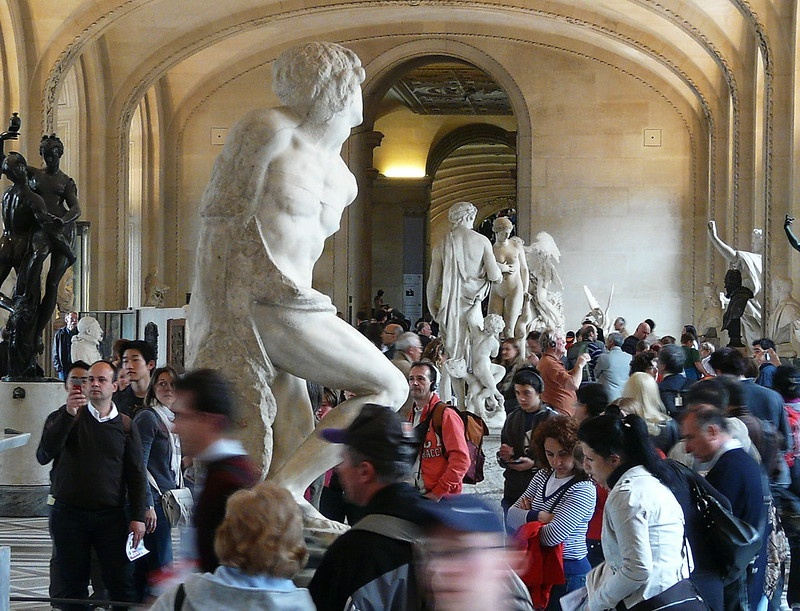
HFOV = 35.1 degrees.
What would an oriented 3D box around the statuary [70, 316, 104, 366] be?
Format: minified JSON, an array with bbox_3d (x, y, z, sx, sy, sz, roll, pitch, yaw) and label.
[{"bbox_3d":[-3.589,0.405,14.395,0.337,0.517,0.576,-3,7,-23],"label":"statuary"}]

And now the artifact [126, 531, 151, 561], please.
[{"bbox_3d":[-1.688,1.552,8.108,0.133,0.201,0.292,2,-8,-11],"label":"artifact"}]

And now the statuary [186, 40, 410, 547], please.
[{"bbox_3d":[-0.624,-0.149,7.262,1.149,2.873,0.566,2,-9,-9],"label":"statuary"}]

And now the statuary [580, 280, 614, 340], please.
[{"bbox_3d":[3.638,0.091,23.234,0.623,1.201,0.969,-5,5,12],"label":"statuary"}]

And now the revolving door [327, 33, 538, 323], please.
[{"bbox_3d":[0.477,-3.122,32.772,4.876,6.829,4.724,10,2,-13],"label":"revolving door"}]

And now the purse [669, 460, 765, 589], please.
[{"bbox_3d":[1.744,1.205,6.999,0.415,0.657,0.577,-20,16,18],"label":"purse"}]
